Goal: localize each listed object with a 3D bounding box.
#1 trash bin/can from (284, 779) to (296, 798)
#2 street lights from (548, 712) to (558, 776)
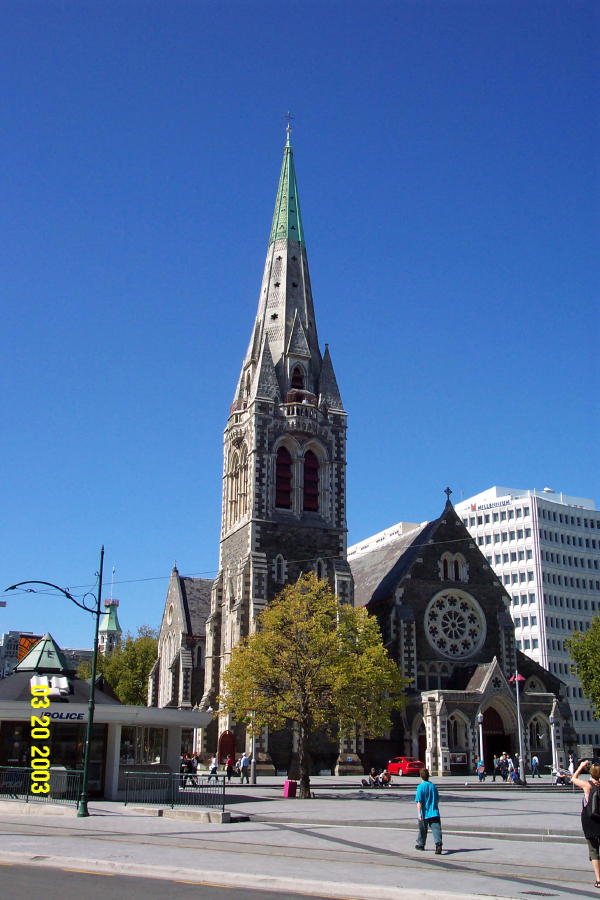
[{"bbox_3d":[-0.378,13.012,34.900,0.421,0.627,1.160,2,-17,-5],"label":"trash bin/can"},{"bbox_3d":[15.650,17.865,56.569,0.451,3.370,0.835,-3,-16,12],"label":"street lights"}]
